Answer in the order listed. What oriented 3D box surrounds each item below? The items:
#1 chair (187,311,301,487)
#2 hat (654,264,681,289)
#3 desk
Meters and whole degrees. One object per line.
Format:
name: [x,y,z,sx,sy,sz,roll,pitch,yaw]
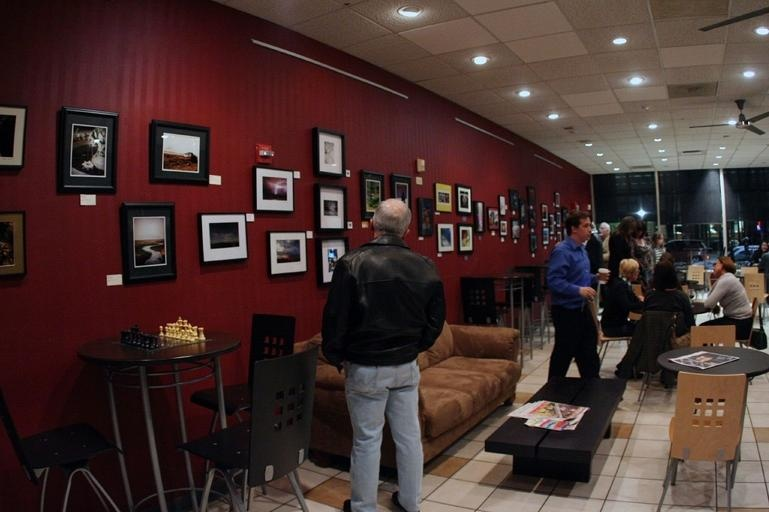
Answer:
chair: [-1.531,1.009,5.119,0.847,1.662,1.050,-2,-9,41]
hat: [3.463,0.256,6.715,0.277,0.311,0.314,-5,-5,17]
desk: [-1.617,1.363,4.665,1.335,1.616,1.377,-2,5,-17]
